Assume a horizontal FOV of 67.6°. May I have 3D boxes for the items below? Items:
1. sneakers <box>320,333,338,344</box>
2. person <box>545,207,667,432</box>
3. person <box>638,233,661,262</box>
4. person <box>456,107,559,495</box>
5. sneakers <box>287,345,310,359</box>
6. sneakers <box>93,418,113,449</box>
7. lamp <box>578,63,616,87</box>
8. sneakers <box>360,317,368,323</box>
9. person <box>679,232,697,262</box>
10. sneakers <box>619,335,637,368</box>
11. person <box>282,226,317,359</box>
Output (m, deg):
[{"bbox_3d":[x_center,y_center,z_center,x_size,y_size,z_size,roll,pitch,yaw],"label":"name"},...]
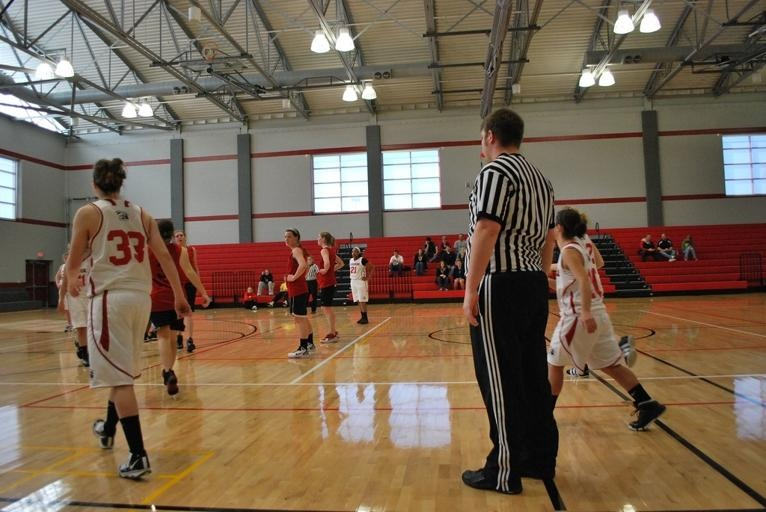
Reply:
[{"bbox_3d":[-1.033,1.557,10.786,0.332,0.162,0.127,1,-5,-2],"label":"sneakers"},{"bbox_3d":[2.441,0.763,6.492,1.087,2.521,0.841,2,15,17],"label":"person"},{"bbox_3d":[8.744,-0.229,19.162,0.706,1.116,0.791,-1,-9,1],"label":"person"},{"bbox_3d":[1.270,0.688,5.838,0.955,3.328,0.941,-1,14,6],"label":"person"},{"bbox_3d":[-1.428,1.650,9.698,0.398,0.192,0.152,0,-5,-3],"label":"sneakers"},{"bbox_3d":[-3.300,2.088,6.780,0.157,0.197,0.416,4,24,-39],"label":"sneakers"},{"bbox_3d":[6.473,-5.492,17.467,0.841,0.590,3.966,3,15,19],"label":"lamp"},{"bbox_3d":[-0.478,1.495,13.220,0.196,0.116,0.223,-2,14,0],"label":"sneakers"},{"bbox_3d":[10.048,-0.303,18.814,0.467,0.770,1.059,5,16,27],"label":"person"},{"bbox_3d":[2.956,1.149,6.906,0.205,0.174,0.464,9,13,9],"label":"sneakers"},{"bbox_3d":[-1.453,0.672,9.642,0.417,2.246,0.659,-3,14,-6],"label":"person"}]
